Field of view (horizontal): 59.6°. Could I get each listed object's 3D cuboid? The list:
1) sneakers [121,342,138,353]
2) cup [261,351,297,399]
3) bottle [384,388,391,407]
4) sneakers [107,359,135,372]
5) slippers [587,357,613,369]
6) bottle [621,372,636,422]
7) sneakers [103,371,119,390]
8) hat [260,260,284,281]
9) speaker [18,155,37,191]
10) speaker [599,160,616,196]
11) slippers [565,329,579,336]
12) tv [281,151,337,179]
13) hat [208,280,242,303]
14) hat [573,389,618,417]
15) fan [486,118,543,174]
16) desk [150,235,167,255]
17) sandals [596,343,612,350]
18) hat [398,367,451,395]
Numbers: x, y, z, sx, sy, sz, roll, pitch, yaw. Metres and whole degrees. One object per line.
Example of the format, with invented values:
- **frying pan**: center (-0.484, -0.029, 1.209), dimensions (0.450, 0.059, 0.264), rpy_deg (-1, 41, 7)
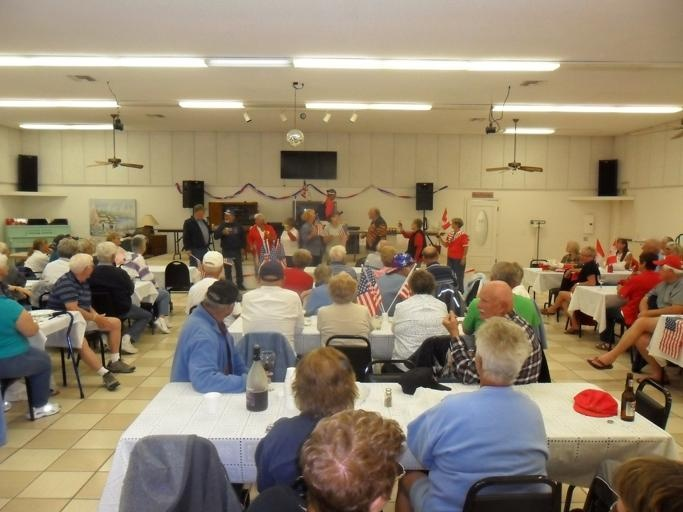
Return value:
- **sneakers**: center (-2.833, 1.232, 7.962), dimensions (0.258, 0.116, 0.094), rpy_deg (22, 0, -8)
- **cup**: center (-0.540, 0.967, 5.062), dimensions (0.297, 0.500, 0.338), rpy_deg (2, -3, -21)
- **bottle**: center (0.348, 1.073, 4.507), dimensions (0.056, 0.109, 0.118), rpy_deg (1, 6, 4)
- **sneakers**: center (-2.696, 1.357, 7.307), dimensions (0.340, 0.163, 0.139), rpy_deg (4, 1, -6)
- **slippers**: center (3.130, 1.303, 7.197), dimensions (0.262, 0.100, 0.150), rpy_deg (0, 3, -1)
- **bottle**: center (2.169, 1.032, 4.499), dimensions (0.102, 0.328, 0.414), rpy_deg (3, 7, 26)
- **sneakers**: center (-2.619, 1.412, 6.724), dimensions (0.108, 0.135, 0.278), rpy_deg (-22, -17, -1)
- **hat**: center (-0.672, 0.144, 5.681), dimensions (0.230, 0.199, 0.169), rpy_deg (0, 6, -9)
- **speaker**: center (-7.444, -1.946, 14.099), dimensions (0.471, 0.851, 0.517), rpy_deg (-3, 7, -30)
- **speaker**: center (6.512, -1.908, 14.551), dimensions (0.474, 0.877, 0.364), rpy_deg (3, 7, 23)
- **slippers**: center (3.524, 1.161, 9.081), dimensions (0.230, 0.095, 0.074), rpy_deg (2, 3, 16)
- **tv**: center (-0.808, -2.182, 14.288), dimensions (1.317, 0.632, 0.222), rpy_deg (0, 6, -7)
- **hat**: center (-0.950, 0.289, 4.715), dimensions (0.248, 0.176, 0.157), rpy_deg (-1, 6, -14)
- **hat**: center (1.929, 1.110, 4.524), dimensions (0.312, 0.147, 0.301), rpy_deg (3, 7, 24)
- **fan**: center (3.968, -2.576, 13.704), dimensions (1.160, 1.108, 1.162), rpy_deg (3, 11, 5)
- **desk**: center (-4.358, -0.245, 14.073), dimensions (0.350, 0.479, 0.672), rpy_deg (0, 4, 3)
- **sandals**: center (3.657, 1.260, 8.275), dimensions (0.095, 0.057, 0.179), rpy_deg (-8, 10, -40)
- **hat**: center (0.631, 0.969, 4.717), dimensions (0.283, 0.126, 0.209), rpy_deg (-5, 5, 1)
